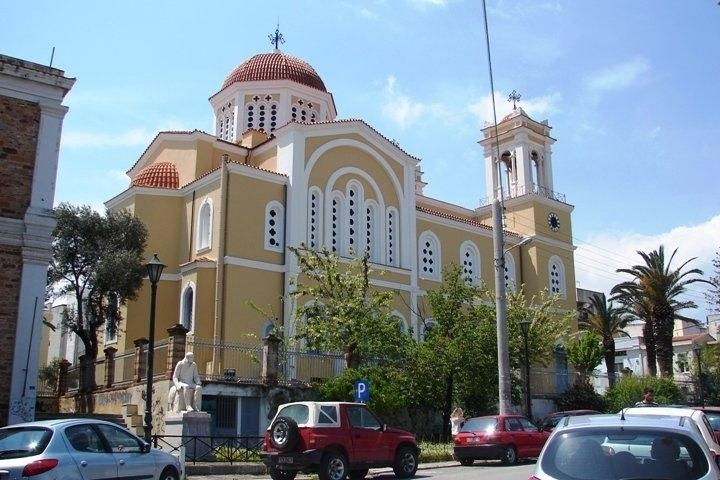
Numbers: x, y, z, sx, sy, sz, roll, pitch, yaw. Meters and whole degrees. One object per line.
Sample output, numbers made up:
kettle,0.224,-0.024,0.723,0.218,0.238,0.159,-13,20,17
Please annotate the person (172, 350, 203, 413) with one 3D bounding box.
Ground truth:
person,-6.062,4.983,21.551,1.045,2.014,0.781,-14,-20,40
